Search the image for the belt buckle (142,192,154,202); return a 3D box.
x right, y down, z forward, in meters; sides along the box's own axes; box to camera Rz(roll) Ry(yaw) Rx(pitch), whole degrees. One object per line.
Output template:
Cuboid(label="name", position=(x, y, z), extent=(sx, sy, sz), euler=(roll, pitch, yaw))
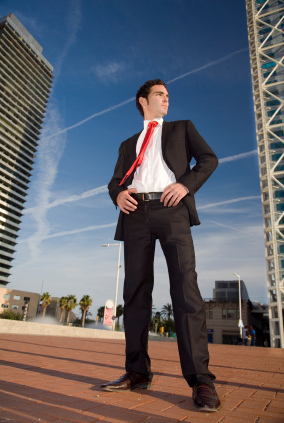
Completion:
Cuboid(label="belt buckle", position=(0.052, -0.108, 2.205), extent=(0.071, 0.066, 0.068), euler=(-4, -12, 21))

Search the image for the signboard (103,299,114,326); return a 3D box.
Cuboid(label="signboard", position=(-3.181, 9.991, 27.073), extent=(0.940, 2.477, 1.311), euler=(1, -15, -7))

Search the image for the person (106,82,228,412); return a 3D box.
Cuboid(label="person", position=(0.138, -0.002, 2.221), extent=(0.965, 2.608, 0.481), euler=(-12, -19, 37))
